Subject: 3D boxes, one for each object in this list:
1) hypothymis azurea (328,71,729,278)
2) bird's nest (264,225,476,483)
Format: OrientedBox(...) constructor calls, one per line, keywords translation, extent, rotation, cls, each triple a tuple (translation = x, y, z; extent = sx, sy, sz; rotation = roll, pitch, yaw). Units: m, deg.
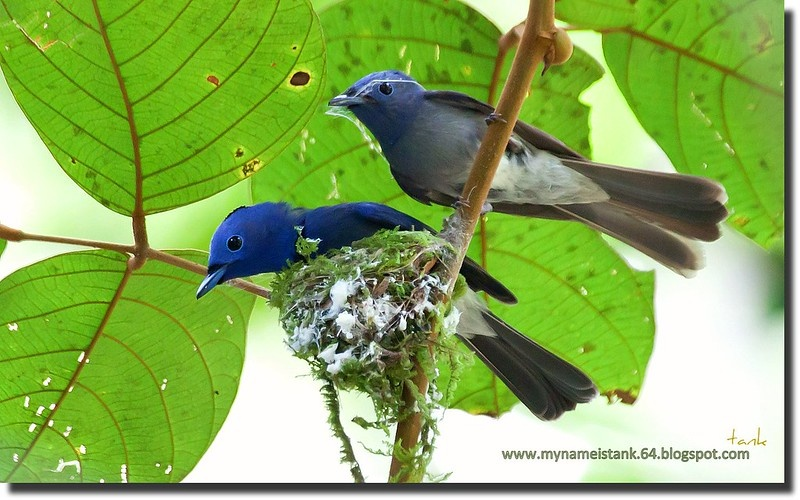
OrientedBox(translation=(0.472, -0.295, 3.172), extent=(1.595, 0.562, 0.457), rotation=(19, -47, 1), cls="hypothymis azurea")
OrientedBox(translation=(0.060, 0.314, 3.002), extent=(0.727, 0.866, 0.481), rotation=(15, -17, 35), cls="bird's nest")
